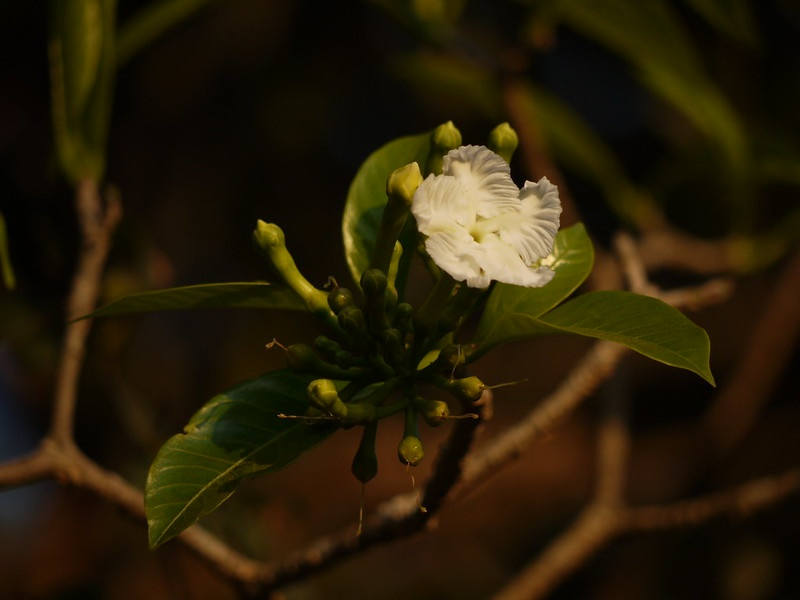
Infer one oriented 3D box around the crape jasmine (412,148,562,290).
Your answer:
[{"bbox_3d":[0.264,-0.252,2.922,0.483,0.245,0.582,6,49,1],"label":"crape jasmine"}]
